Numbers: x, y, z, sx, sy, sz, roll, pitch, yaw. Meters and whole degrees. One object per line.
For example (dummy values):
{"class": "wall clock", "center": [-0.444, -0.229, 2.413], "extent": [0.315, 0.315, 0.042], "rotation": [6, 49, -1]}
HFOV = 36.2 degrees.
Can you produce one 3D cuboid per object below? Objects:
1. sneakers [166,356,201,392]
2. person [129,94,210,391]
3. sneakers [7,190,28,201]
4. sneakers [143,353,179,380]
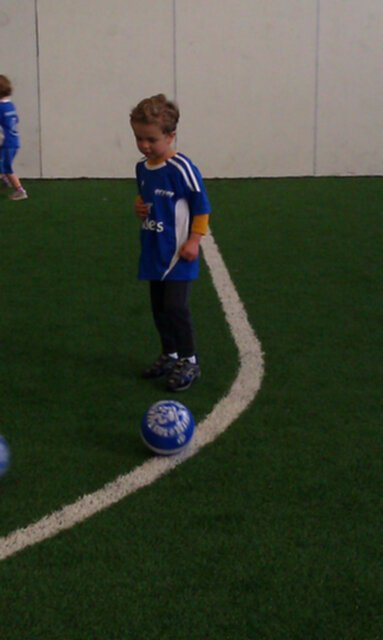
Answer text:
{"class": "sneakers", "center": [-0.035, 0.252, 2.674], "extent": [0.078, 0.096, 0.213], "rotation": [2, 5, 16]}
{"class": "person", "center": [-0.089, -0.295, 2.536], "extent": [0.308, 1.262, 0.314], "rotation": [-6, 10, -18]}
{"class": "sneakers", "center": [-1.372, -0.982, 4.628], "extent": [0.138, 0.091, 0.146], "rotation": [-5, 10, -15]}
{"class": "sneakers", "center": [-0.136, 0.214, 2.807], "extent": [0.076, 0.077, 0.205], "rotation": [13, 22, 41]}
